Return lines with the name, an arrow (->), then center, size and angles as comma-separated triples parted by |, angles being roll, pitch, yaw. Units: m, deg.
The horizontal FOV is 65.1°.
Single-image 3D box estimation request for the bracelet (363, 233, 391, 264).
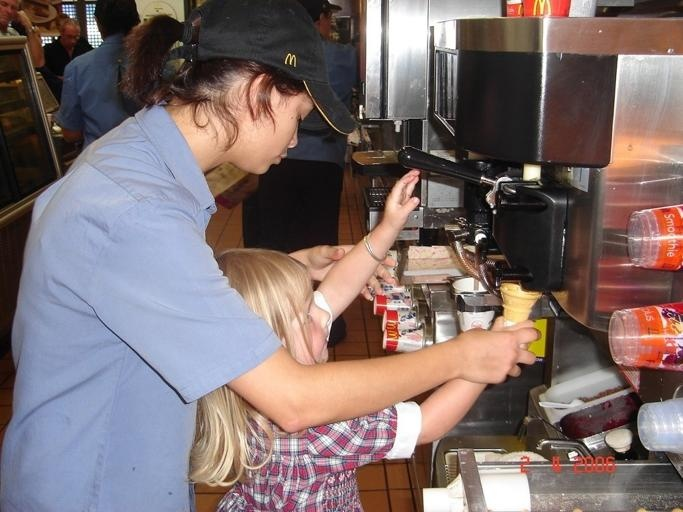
bracelet -> 0.101, -0.012, 1.465 | 0.018, 0.073, 0.073 | -32, 34, -21
